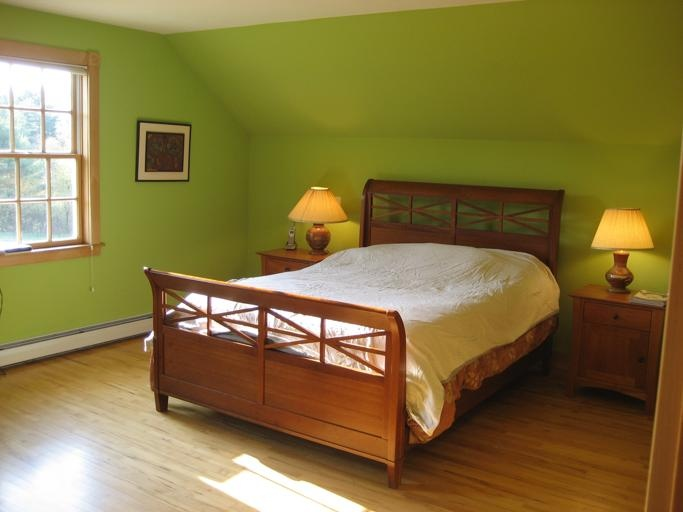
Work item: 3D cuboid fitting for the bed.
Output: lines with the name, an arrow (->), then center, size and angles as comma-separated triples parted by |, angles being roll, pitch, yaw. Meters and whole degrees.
bed -> 0.317, 0.257, 4.519 | 2.351, 1.601, 2.939 | 6, 11, 36

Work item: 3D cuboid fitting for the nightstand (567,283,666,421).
nightstand -> 2.201, 0.703, 4.405 | 0.711, 0.802, 0.626 | 9, 13, 44

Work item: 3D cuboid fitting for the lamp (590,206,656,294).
lamp -> 2.267, -0.037, 4.464 | 0.451, 0.671, 0.436 | 5, 5, 42

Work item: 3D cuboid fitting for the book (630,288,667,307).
book -> 2.344, 0.317, 4.211 | 0.231, 0.041, 0.367 | 8, 14, 27

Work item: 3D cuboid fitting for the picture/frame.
picture/frame -> -1.811, -1.059, 5.511 | 0.024, 0.640, 0.657 | 11, 13, 39

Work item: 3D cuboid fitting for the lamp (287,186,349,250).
lamp -> -0.197, -0.428, 5.723 | 0.644, 0.626, 0.638 | -4, 11, -33
